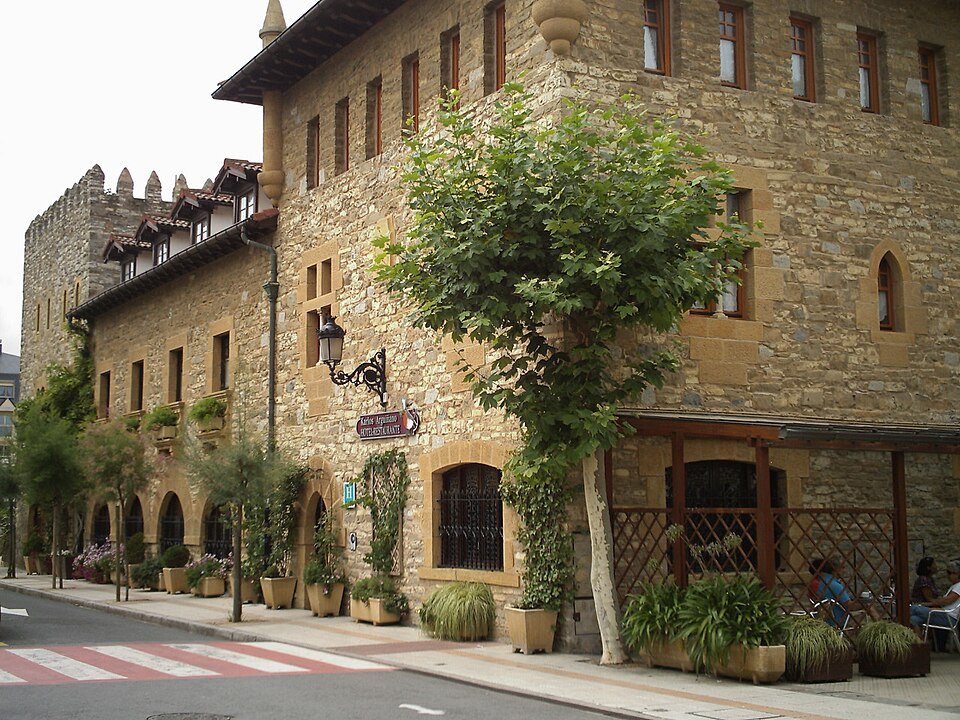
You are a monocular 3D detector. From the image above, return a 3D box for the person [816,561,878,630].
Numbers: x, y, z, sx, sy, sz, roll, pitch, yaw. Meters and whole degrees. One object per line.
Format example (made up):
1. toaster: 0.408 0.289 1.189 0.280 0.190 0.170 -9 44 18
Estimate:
1. person: 5.868 3.730 20.586 0.731 1.127 1.149 -7 -14 25
